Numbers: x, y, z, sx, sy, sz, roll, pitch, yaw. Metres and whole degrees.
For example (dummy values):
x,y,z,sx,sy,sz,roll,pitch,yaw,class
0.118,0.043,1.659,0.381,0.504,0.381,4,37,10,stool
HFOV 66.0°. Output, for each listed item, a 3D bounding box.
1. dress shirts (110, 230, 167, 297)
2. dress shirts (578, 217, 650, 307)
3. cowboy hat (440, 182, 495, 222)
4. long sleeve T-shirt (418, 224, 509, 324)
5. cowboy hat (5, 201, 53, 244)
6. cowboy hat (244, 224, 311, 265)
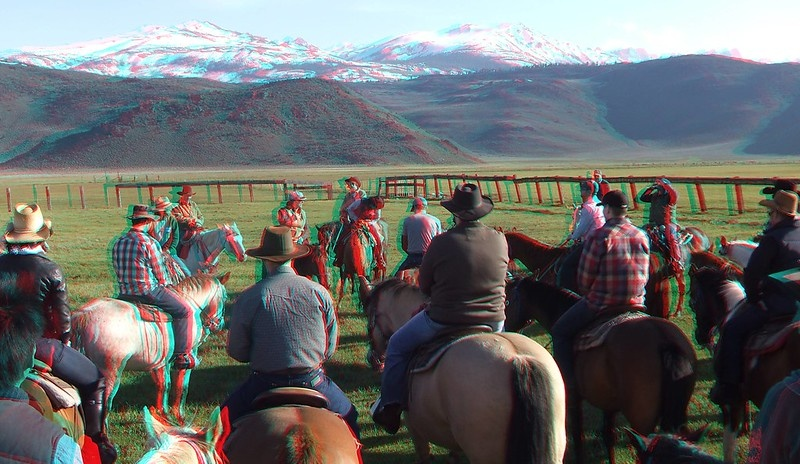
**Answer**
x,y,z,sx,sy,sz,roll,pitch,yaw,class
-4.760,0.505,11.396,1.026,1.055,0.817,0,-4,11,dress shirts
3.457,0.526,10.002,1.080,1.425,0.410,1,7,16,dress shirts
1.014,-0.452,9.331,0.769,0.528,0.453,-1,6,3,cowboy hat
0.975,0.669,9.663,1.564,1.496,1.496,5,11,35,long sleeve T-shirt
-5.405,-0.173,9.029,0.509,0.265,0.682,-4,28,-15,cowboy hat
-1.796,0.124,9.041,0.968,0.348,0.949,-5,15,-17,cowboy hat
